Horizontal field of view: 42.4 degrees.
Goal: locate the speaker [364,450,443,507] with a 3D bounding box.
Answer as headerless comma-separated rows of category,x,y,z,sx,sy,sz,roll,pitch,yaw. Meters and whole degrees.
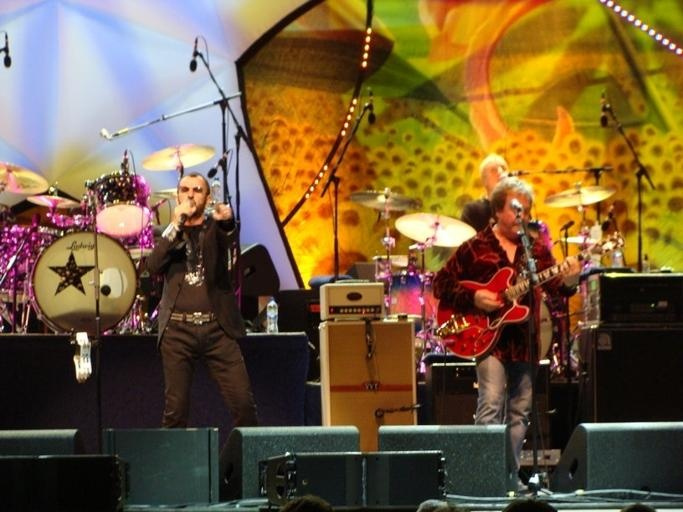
speaker,0.344,1.225,4.886,0.476,0.335,0.269,0,-10,-3

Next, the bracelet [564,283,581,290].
bracelet,1.601,0.206,6.134,0.061,0.048,0.058,0,-1,-37

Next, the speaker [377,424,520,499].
speaker,0.754,1.195,5.358,0.708,0.489,0.399,-6,8,32

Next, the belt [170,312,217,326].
belt,-1.053,0.442,6.213,0.304,0.095,0.059,-1,-5,7

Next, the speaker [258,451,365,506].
speaker,-0.152,1.221,4.821,0.486,0.291,0.131,0,4,0

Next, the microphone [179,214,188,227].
microphone,-1.130,-0.245,6.299,0.074,0.082,0.068,4,-19,-43

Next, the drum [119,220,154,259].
drum,-1.914,-0.172,8.312,0.339,0.366,0.360,-2,2,3

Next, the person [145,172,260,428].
person,-1.002,0.296,6.257,0.785,1.787,0.308,0,-5,-1

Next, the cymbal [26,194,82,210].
cymbal,-3.294,-0.622,10.124,0.368,0.086,0.384,4,-17,-9

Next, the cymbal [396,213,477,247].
cymbal,0.911,-0.260,8.301,0.526,0.124,0.559,-20,-22,31

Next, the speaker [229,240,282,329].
speaker,-0.950,0.320,8.795,0.525,0.778,0.581,4,-5,12

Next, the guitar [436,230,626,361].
guitar,1.236,0.290,6.148,1.540,0.647,0.184,-35,-14,19

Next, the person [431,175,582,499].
person,1.162,0.614,6.268,0.969,2.225,0.724,2,6,5

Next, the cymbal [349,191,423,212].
cymbal,0.460,-0.564,9.037,0.468,0.246,0.645,-5,-8,40

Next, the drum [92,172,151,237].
drum,-2.001,-0.447,7.967,0.385,0.399,0.388,-42,-46,22
